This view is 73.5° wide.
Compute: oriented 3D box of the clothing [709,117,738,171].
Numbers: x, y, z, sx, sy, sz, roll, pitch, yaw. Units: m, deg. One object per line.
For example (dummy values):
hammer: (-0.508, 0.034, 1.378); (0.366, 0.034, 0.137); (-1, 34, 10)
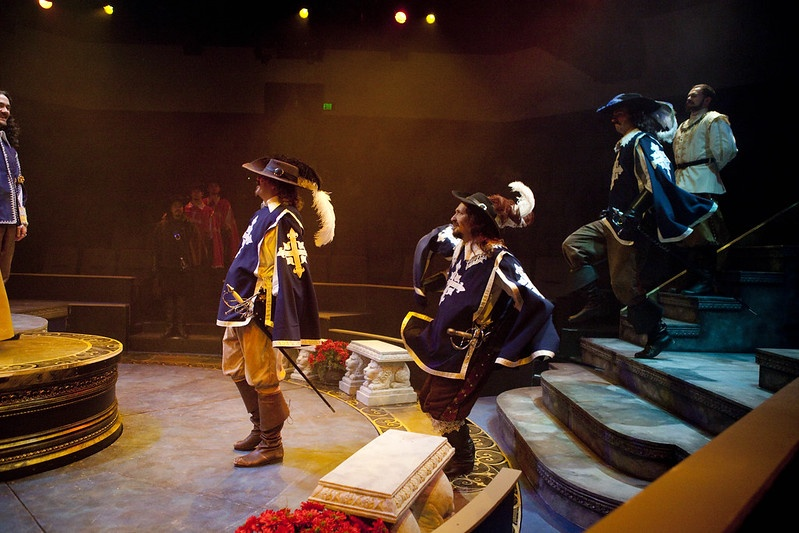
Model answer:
clothing: (3.760, -1.446, 6.247); (0.253, 0.532, 0.401); (-10, -28, 15)

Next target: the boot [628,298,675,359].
boot: (2.583, 0.615, 5.556); (0.371, 0.616, 0.270); (-2, 11, -9)

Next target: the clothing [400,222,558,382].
clothing: (0.710, 0.286, 4.815); (1.526, 1.452, 0.667); (19, 21, 30)

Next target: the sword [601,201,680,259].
sword: (2.539, -0.373, 5.685); (0.662, 0.204, 0.429); (32, -15, -8)

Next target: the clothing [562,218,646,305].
clothing: (2.145, -0.138, 6.061); (0.793, 1.004, 0.648); (-1, -11, -23)

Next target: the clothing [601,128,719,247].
clothing: (2.857, -0.836, 5.811); (0.693, 1.186, 1.333); (-15, 3, -17)

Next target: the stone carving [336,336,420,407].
stone carving: (-0.219, 1.197, 6.533); (0.677, 0.620, 0.886); (2, -1, -22)

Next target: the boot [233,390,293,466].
boot: (-1.138, 1.506, 5.075); (0.712, 0.875, 0.345); (4, -3, -9)

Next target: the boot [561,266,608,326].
boot: (2.006, 0.371, 6.196); (0.583, 0.728, 0.387); (-2, -8, -4)
